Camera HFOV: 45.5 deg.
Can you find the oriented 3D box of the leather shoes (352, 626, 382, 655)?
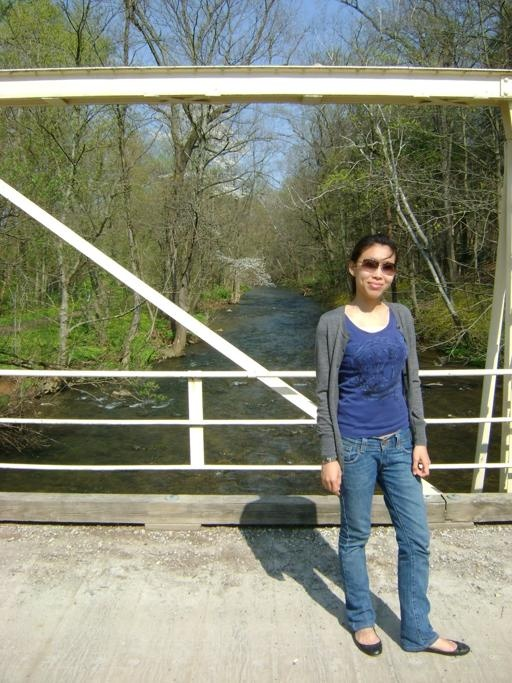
[{"bbox_3d":[0.491,1.300,2.655,0.062,0.041,0.151,-4,3,-10],"label":"leather shoes"}]

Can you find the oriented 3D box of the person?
[{"bbox_3d":[0.555,0.433,2.698,0.591,1.797,0.528,1,11,5],"label":"person"}]

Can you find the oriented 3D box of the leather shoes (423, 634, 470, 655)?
[{"bbox_3d":[0.817,1.301,2.630,0.198,0.046,0.070,-3,19,0],"label":"leather shoes"}]
